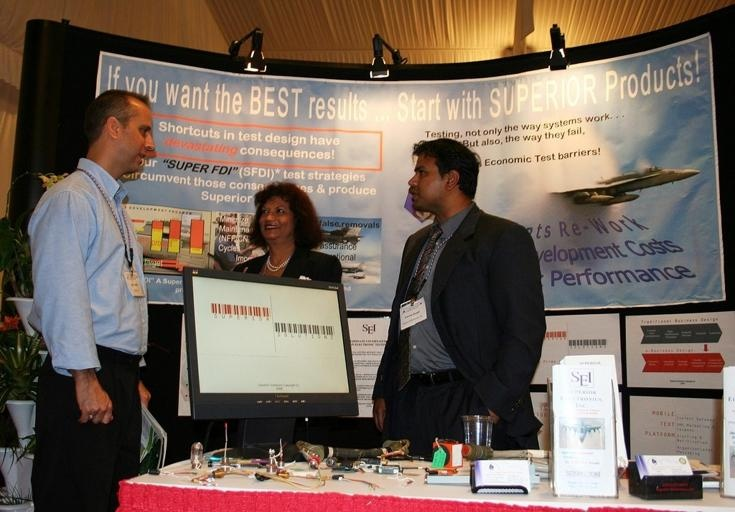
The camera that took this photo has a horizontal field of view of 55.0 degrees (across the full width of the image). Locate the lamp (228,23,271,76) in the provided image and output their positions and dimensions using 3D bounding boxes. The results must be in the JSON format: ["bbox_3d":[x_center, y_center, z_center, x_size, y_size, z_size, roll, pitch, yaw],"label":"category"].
[{"bbox_3d":[-0.858,-1.485,5.072,0.134,0.285,0.369,0,10,-40],"label":"lamp"}]

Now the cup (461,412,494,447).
[{"bbox_3d":[0.460,0.735,2.930,0.139,0.113,0.139,2,-17,1],"label":"cup"}]

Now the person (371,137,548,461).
[{"bbox_3d":[0.473,0.184,3.737,0.929,1.346,0.476,2,-1,40],"label":"person"}]

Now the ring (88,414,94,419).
[{"bbox_3d":[-1.232,0.720,3.148,0.017,0.022,0.006,-3,21,-6],"label":"ring"}]

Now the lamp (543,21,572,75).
[{"bbox_3d":[1.339,-1.486,4.940,0.132,0.262,0.432,2,-1,15],"label":"lamp"}]

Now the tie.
[{"bbox_3d":[0.272,0.316,3.906,0.070,0.735,0.137,-15,16,7],"label":"tie"}]

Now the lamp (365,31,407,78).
[{"bbox_3d":[0.151,-1.497,5.195,0.140,0.285,0.501,-1,23,25],"label":"lamp"}]

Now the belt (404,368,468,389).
[{"bbox_3d":[0.344,0.635,3.641,0.321,0.082,0.031,2,-1,32],"label":"belt"}]
